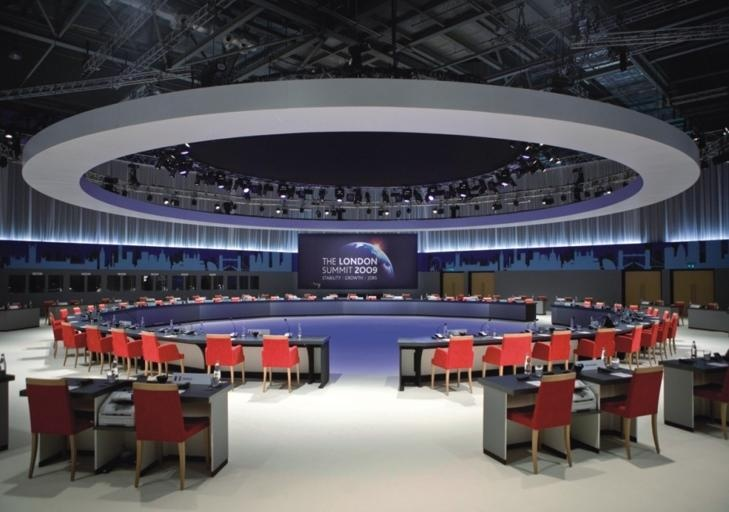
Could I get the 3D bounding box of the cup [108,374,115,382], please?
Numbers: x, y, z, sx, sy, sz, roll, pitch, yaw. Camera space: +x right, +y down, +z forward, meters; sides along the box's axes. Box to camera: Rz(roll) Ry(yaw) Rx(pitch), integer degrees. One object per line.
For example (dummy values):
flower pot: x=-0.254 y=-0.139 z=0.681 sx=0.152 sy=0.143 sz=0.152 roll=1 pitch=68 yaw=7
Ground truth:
cup: x=-4.397 y=2.125 z=8.812 sx=0.121 sy=0.097 sz=0.127 roll=2 pitch=-6 yaw=0

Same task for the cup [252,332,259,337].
cup: x=-2.595 y=1.867 z=12.058 sx=0.152 sy=0.091 sz=0.130 roll=-2 pitch=9 yaw=-14

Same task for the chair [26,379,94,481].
chair: x=-5.027 y=2.742 z=8.295 sx=0.977 sy=1.670 sz=0.525 roll=1 pitch=9 yaw=4

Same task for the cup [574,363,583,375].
cup: x=3.923 y=2.061 z=9.262 sx=0.154 sy=0.131 sz=0.147 roll=1 pitch=-7 yaw=0

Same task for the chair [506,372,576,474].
chair: x=3.000 y=2.748 z=8.710 sx=0.881 sy=1.589 sz=0.973 roll=1 pitch=1 yaw=-18

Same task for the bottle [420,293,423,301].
bottle: x=2.957 y=2.132 z=25.986 sx=0.169 sy=0.344 sz=0.329 roll=0 pitch=0 yaw=2

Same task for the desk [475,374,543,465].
desk: x=2.773 y=2.834 z=8.809 sx=1.195 sy=1.285 sz=0.900 roll=1 pitch=-1 yaw=-24

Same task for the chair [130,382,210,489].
chair: x=-3.132 y=2.826 z=8.176 sx=1.035 sy=1.663 sz=0.587 roll=0 pitch=9 yaw=3

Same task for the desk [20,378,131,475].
desk: x=-5.015 y=2.770 z=8.863 sx=1.349 sy=1.611 sz=1.862 roll=0 pitch=-2 yaw=21

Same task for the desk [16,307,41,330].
desk: x=-12.868 y=2.397 z=19.462 sx=0.292 sy=0.796 sz=0.876 roll=2 pitch=9 yaw=13

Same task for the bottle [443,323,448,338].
bottle: x=1.959 y=1.839 z=12.216 sx=0.073 sy=0.326 sz=0.460 roll=2 pitch=9 yaw=13

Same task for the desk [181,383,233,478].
desk: x=-2.728 y=2.935 z=8.712 sx=0.735 sy=1.091 sz=1.074 roll=-10 pitch=-5 yaw=4
